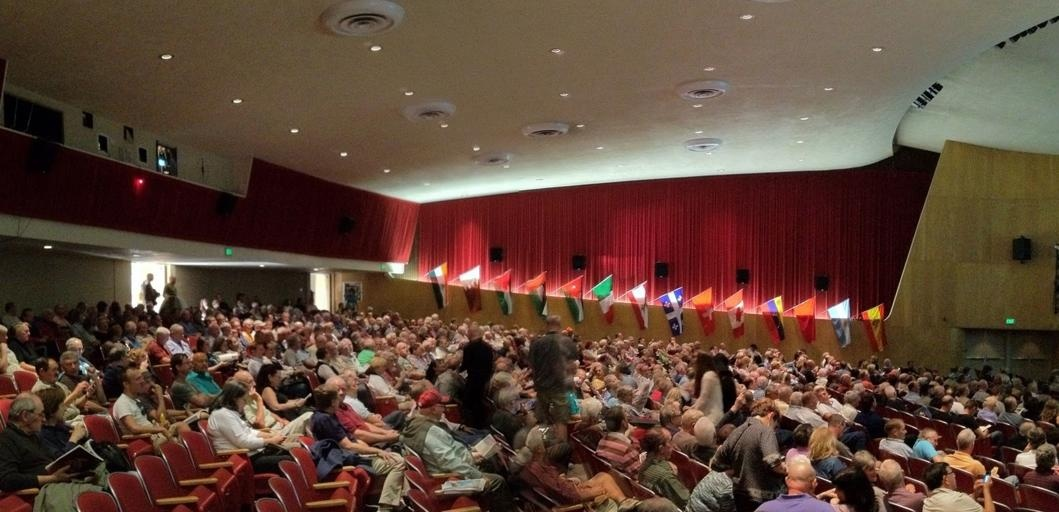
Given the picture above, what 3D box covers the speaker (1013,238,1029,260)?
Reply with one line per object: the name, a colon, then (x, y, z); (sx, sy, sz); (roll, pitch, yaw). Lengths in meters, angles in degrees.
speaker: (19.173, -0.253, 24.334); (0.701, 0.907, 0.367); (2, -6, -15)
